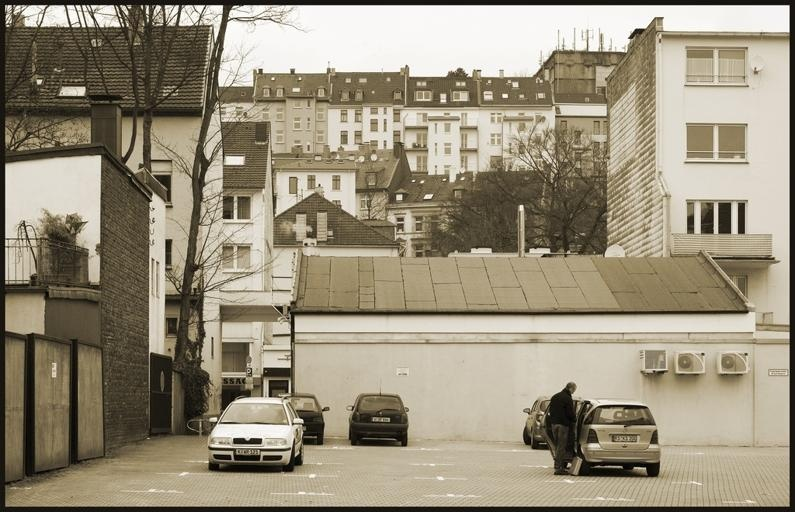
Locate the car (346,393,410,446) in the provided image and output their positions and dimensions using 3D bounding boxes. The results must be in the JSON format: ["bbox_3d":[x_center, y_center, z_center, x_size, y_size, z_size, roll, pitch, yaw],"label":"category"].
[{"bbox_3d":[-0.815,6.986,61.513,1.849,1.845,4.577,0,-3,-3],"label":"car"}]

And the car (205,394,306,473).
[{"bbox_3d":[-5.128,6.536,53.037,2.999,2.400,6.759,1,-4,1],"label":"car"}]

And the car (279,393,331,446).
[{"bbox_3d":[-4.210,7.062,62.802,2.387,2.089,4.307,3,-2,-9],"label":"car"}]

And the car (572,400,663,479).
[{"bbox_3d":[8.033,6.603,53.586,2.935,2.464,5.751,1,-1,0],"label":"car"}]
